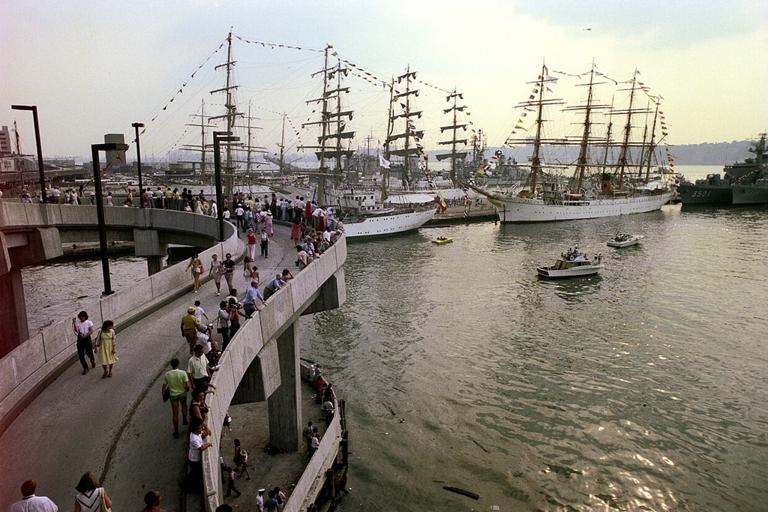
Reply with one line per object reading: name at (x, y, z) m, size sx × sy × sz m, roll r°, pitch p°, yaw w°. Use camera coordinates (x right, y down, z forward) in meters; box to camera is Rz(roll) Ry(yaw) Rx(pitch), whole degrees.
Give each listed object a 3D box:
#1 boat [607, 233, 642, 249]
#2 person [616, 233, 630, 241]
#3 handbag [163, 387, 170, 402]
boat at (31.553, -1.890, 71.387) m, size 2.681 × 1.401 × 5.626 m, roll 6°, pitch 11°, yaw 43°
person at (32.522, -2.467, 73.891) m, size 1.663 × 0.627 × 1.198 m, roll -10°, pitch 22°, yaw -12°
handbag at (-8.759, 5.624, 21.840) m, size 0.231 × 0.586 × 0.533 m, roll -6°, pitch 9°, yaw -28°
